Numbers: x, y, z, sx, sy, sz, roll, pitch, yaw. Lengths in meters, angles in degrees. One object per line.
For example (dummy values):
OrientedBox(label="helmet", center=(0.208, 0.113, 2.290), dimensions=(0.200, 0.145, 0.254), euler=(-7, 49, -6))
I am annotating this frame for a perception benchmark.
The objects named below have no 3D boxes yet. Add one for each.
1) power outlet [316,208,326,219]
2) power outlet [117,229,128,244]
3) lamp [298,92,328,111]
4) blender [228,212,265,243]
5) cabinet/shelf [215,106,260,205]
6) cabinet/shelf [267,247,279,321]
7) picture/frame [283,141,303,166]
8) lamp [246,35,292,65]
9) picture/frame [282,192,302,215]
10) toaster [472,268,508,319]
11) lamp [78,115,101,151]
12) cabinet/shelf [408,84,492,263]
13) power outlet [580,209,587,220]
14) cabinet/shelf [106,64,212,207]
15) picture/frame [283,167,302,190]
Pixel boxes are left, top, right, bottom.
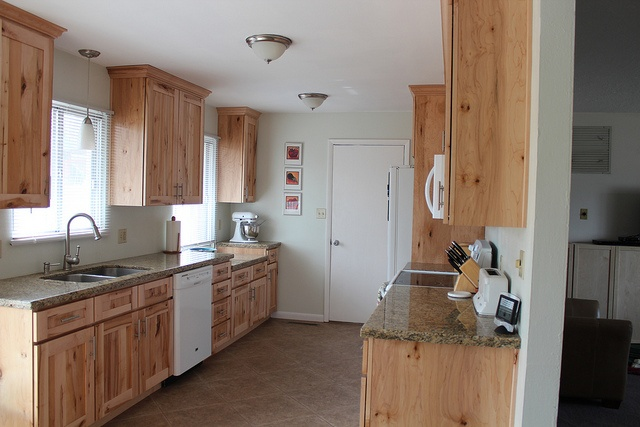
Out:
OrientedBox(label="power outlet", center=(0.012, -0.002, 6.035), dimensions=(0.145, 0.141, 0.014), euler=(1, -2, 9))
OrientedBox(label="power outlet", center=(-1.847, 0.211, 4.328), dimensions=(0.015, 0.144, 0.147), euler=(0, 0, 18))
OrientedBox(label="lamp", center=(-0.097, -1.221, 5.048), dimensions=(0.178, 0.088, 0.176), euler=(1, -2, -34))
OrientedBox(label="blender", center=(-0.975, 0.180, 6.068), dimensions=(0.411, 0.400, 0.262), euler=(0, 1, 17))
OrientedBox(label="cabinet/shelf", center=(-1.022, -0.742, 5.930), dimensions=(0.594, 1.186, 0.321), euler=(-2, 3, -22))
OrientedBox(label="cabinet/shelf", center=(-0.624, 0.914, 5.995), dimensions=(0.121, 0.918, 0.348), euler=(0, 3, 7))
OrientedBox(label="picture/frame", center=(-0.347, -0.787, 6.079), dimensions=(0.329, 0.403, 0.043), euler=(1, 2, 5))
OrientedBox(label="lamp", center=(-0.399, -1.244, 3.534), dimensions=(0.351, 0.151, 0.348), euler=(-4, 0, 24))
OrientedBox(label="picture/frame", center=(-0.360, -0.138, 6.100), dimensions=(0.308, 0.358, 0.028), euler=(1, 2, 3))
OrientedBox(label="toaster", center=(1.094, 0.503, 2.987), dimensions=(0.199, 0.261, 0.364), euler=(0, 3, 16))
OrientedBox(label="lamp", center=(-1.896, -0.663, 3.767), dimensions=(0.106, 0.295, 0.308), euler=(-2, 3, -27))
OrientedBox(label="cabinet/shelf", center=(1.145, -0.385, 4.727), dimensions=(0.480, 1.909, 0.436), euler=(0, 30, 9))
OrientedBox(label="power outlet", center=(1.179, 0.005, 2.082), dimensions=(0.018, 0.048, 0.071), euler=(0, 3, 12))
OrientedBox(label="cabinet/shelf", center=(-1.534, -0.750, 4.318), dimensions=(0.457, 1.292, 1.268), euler=(0, 0, 14))
OrientedBox(label="picture/frame", center=(-0.354, -0.469, 6.087), dimensions=(0.307, 0.364, 0.028), euler=(1, 1, 4))
